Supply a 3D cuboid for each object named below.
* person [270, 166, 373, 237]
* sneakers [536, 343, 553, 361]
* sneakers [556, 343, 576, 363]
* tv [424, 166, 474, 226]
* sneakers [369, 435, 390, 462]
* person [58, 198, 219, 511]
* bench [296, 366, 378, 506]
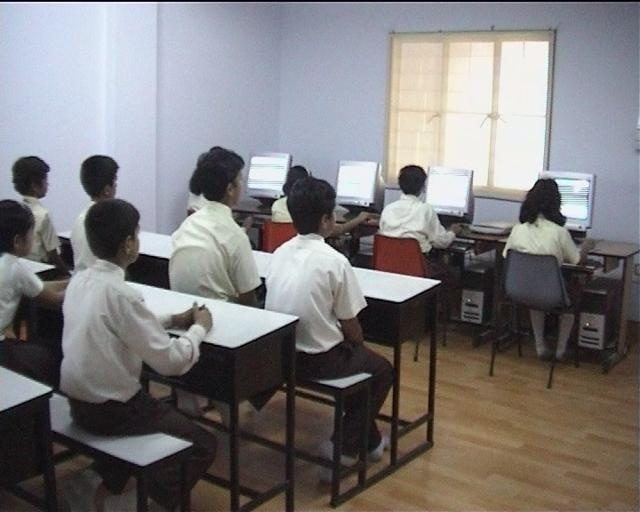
[{"bbox_3d":[-0.154,-0.415,4.861,0.762,0.806,0.295,7,10,16],"label":"person"},{"bbox_3d":[1.719,0.738,4.164,0.108,0.114,0.125,-6,-11,36],"label":"sneakers"},{"bbox_3d":[1.888,0.756,4.142,0.139,0.103,0.185,0,5,41],"label":"sneakers"},{"bbox_3d":[1.109,-0.506,4.666,0.440,0.523,0.257,7,0,28],"label":"tv"},{"bbox_3d":[0.318,0.958,2.802,0.052,0.112,0.180,5,31,20],"label":"sneakers"},{"bbox_3d":[-0.623,0.383,1.932,0.558,1.154,0.494,-5,13,-27],"label":"person"},{"bbox_3d":[0.090,0.857,2.551,0.564,0.535,0.244,2,4,38],"label":"bench"}]
